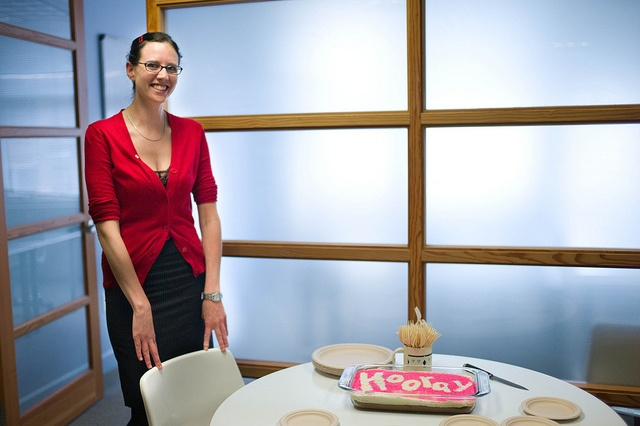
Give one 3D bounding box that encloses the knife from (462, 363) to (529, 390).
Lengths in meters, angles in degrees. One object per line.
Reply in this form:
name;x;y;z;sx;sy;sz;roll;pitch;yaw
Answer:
knife;0.693;0.649;1.864;0.213;0.030;0.018;17;-51;43
